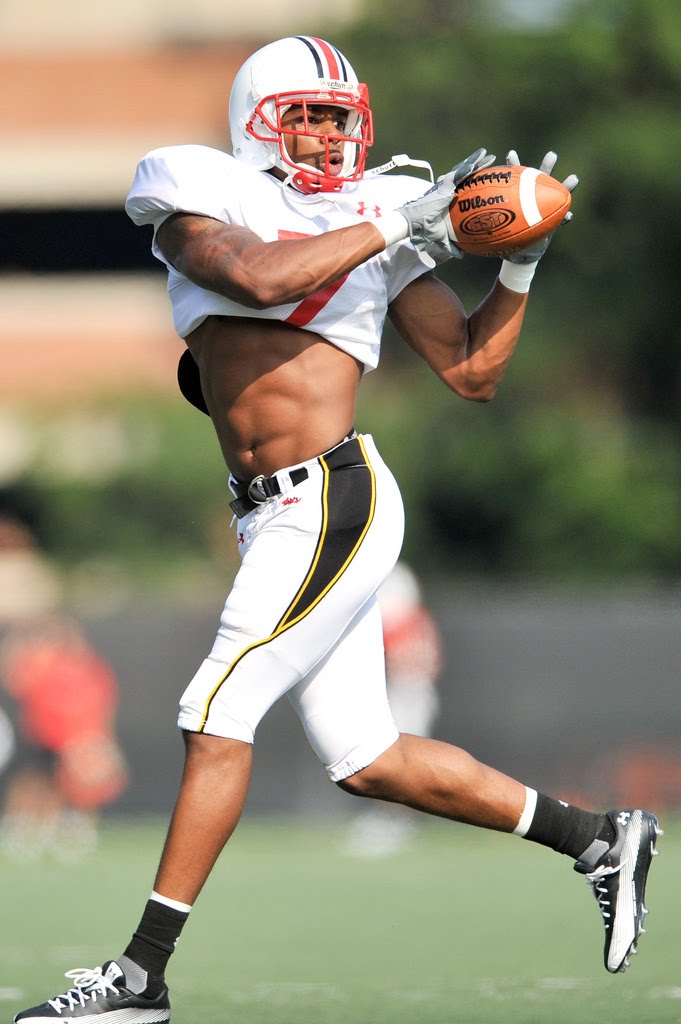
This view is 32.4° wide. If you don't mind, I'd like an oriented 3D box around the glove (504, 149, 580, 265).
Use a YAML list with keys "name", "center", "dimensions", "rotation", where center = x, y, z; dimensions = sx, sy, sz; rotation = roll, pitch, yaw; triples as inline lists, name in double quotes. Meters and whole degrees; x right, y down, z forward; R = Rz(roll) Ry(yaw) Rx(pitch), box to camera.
- name: "glove"
  center: [0.358, -0.585, 2.136]
  dimensions: [0.130, 0.249, 0.083]
  rotation: [-5, 8, -18]

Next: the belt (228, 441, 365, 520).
- name: "belt"
  center: [-0.075, -0.053, 2.042]
  dimensions: [0.207, 0.046, 0.138]
  rotation: [-24, -1, -5]

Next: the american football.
- name: "american football"
  center: [0.276, -0.528, 2.079]
  dimensions: [0.248, 0.124, 0.140]
  rotation: [-9, -30, -4]

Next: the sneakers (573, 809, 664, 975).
- name: "sneakers"
  center: [0.524, 0.695, 2.217]
  dimensions: [0.202, 0.316, 0.117]
  rotation: [3, -14, -2]
